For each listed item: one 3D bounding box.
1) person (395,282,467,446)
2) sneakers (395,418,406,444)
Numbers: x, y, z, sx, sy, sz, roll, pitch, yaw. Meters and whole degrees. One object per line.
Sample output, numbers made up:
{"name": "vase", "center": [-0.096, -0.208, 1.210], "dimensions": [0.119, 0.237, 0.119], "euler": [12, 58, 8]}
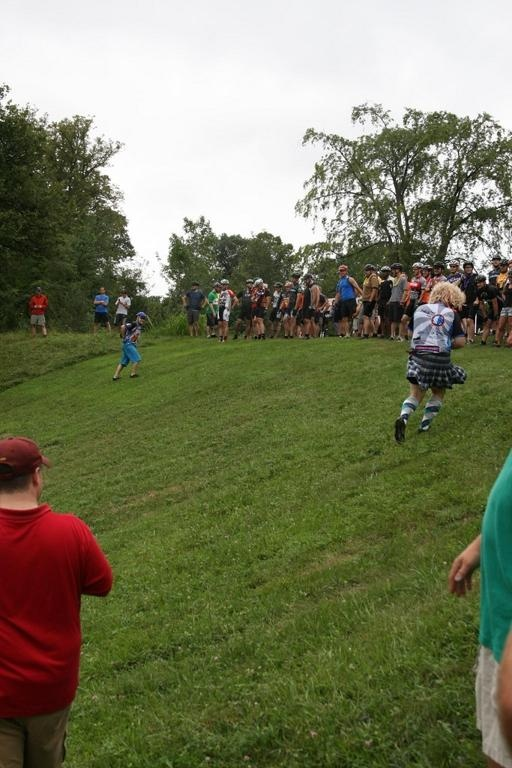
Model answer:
{"name": "person", "center": [2.430, -0.295, 8.485], "dimensions": [0.820, 2.206, 1.126], "euler": [4, 6, 17]}
{"name": "sneakers", "center": [1.908, 0.624, 8.237], "dimensions": [0.137, 0.391, 0.164], "euler": [-1, -3, 27]}
